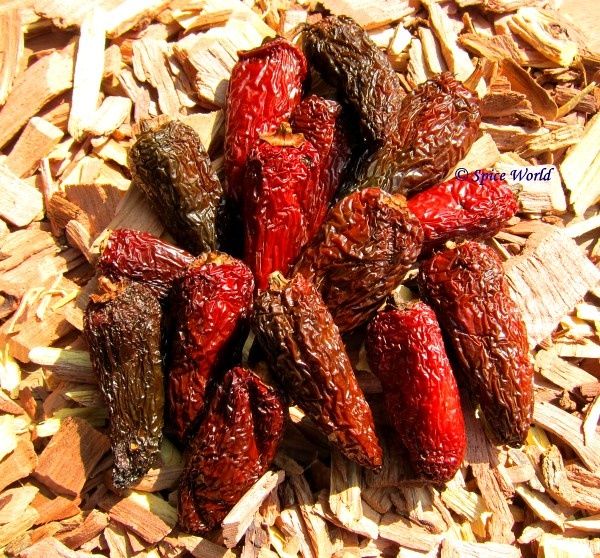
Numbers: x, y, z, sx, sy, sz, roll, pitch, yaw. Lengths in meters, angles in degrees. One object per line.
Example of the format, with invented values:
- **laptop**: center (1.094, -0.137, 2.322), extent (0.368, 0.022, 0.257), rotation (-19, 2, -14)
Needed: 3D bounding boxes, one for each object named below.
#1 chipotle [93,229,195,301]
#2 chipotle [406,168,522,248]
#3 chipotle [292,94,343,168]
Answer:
- **chipotle**: center (-0.480, -0.059, 2.075), extent (0.335, 0.182, 0.150), rotation (16, 89, 11)
- **chipotle**: center (0.548, -0.254, 2.202), extent (0.391, 0.212, 0.176), rotation (-24, 44, -10)
- **chipotle**: center (0.066, -0.524, 2.199), extent (0.171, 0.084, 0.229), rotation (4, 86, 22)
